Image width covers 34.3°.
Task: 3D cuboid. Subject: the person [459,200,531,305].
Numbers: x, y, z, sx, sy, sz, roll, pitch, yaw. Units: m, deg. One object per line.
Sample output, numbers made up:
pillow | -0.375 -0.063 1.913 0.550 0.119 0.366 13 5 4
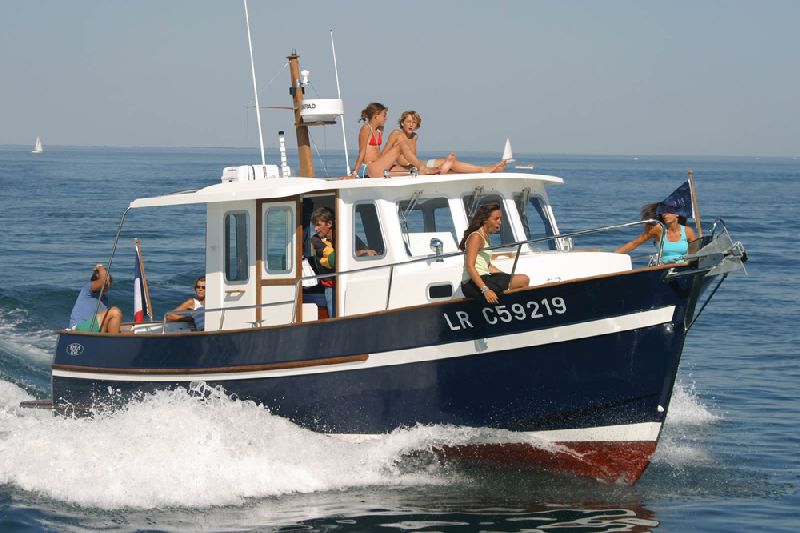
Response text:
person | 1.502 -0.203 21.363 1.003 1.635 0.679 -2 13 2

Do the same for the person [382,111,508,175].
person | 0.732 -2.078 22.687 2.537 1.144 0.790 5 11 27

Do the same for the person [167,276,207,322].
person | -3.997 0.699 24.600 0.661 0.564 1.166 4 -20 -41

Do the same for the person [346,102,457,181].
person | 0.062 -2.216 23.155 1.878 1.221 0.948 2 13 3

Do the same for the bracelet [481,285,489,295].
bracelet | 1.391 0.380 21.194 0.124 0.129 0.075 -16 21 -29

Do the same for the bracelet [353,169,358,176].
bracelet | -0.786 -1.656 22.950 0.031 0.077 0.109 2 9 -25
